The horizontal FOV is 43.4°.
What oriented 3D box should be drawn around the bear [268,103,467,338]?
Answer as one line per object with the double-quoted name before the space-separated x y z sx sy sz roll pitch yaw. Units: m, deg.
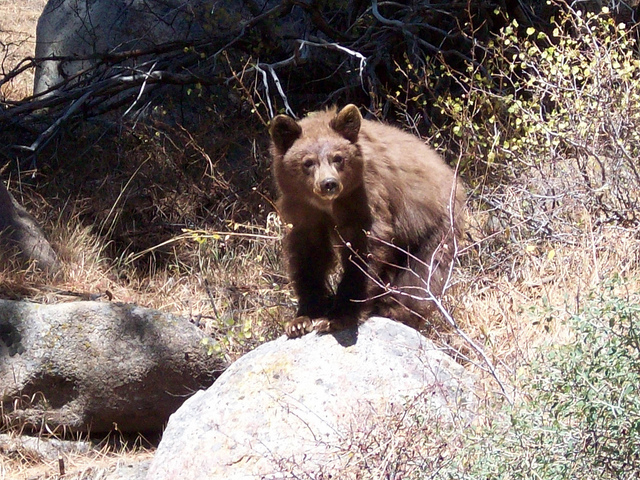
"bear" 0.358 -0.154 7.477 1.229 2.130 2.196 5 5 35
